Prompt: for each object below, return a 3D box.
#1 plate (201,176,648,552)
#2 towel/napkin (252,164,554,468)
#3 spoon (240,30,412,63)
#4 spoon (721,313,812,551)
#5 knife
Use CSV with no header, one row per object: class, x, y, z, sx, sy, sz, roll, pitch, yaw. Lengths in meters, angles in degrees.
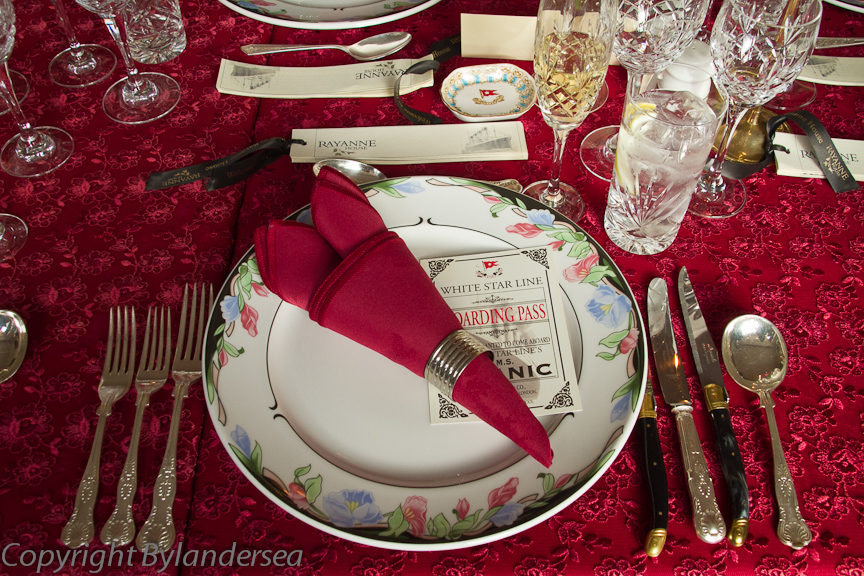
plate,-0.007,0.070,0.875,0.540,0.080,0.495,-23,74,-6
towel/napkin,-0.053,0.051,0.948,0.499,0.122,0.200,41,67,16
spoon,-0.175,-0.414,1.190,0.282,0.040,0.064,-2,61,2
spoon,0.418,0.175,0.857,0.076,0.028,0.278,-4,62,11
knife,0.290,0.133,0.827,0.083,0.022,0.285,-3,66,11
